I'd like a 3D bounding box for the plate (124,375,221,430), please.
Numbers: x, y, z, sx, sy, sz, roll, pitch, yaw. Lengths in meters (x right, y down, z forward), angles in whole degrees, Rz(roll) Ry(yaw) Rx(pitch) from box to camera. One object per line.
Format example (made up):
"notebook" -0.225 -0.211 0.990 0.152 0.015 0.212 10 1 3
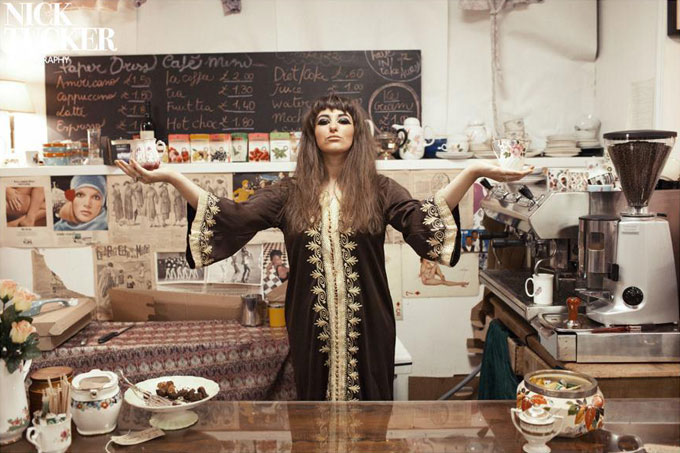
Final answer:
"plate" -0.648 0.692 2.261 0.238 0.080 0.232 3 0 -41

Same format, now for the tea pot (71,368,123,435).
"tea pot" -0.932 0.670 2.253 0.242 0.183 0.208 0 -5 -29

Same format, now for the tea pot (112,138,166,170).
"tea pot" -0.889 -0.327 2.611 0.210 0.130 0.129 -7 14 -30

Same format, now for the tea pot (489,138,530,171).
"tea pot" 0.856 -0.359 2.847 0.199 0.152 0.166 0 10 -22

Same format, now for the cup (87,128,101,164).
"cup" -1.701 -0.558 3.972 0.098 0.234 0.069 -6 16 -22

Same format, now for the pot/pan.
"pot/pan" 0.827 0.660 2.196 0.318 0.151 0.307 2 9 12

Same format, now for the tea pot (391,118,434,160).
"tea pot" 0.509 -0.611 3.959 0.360 0.327 0.218 2 7 4

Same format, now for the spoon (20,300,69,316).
"spoon" -1.812 0.491 3.536 0.239 0.068 0.241 -1 2 42

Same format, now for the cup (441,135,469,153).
"cup" 0.801 -0.572 3.931 0.154 0.097 0.112 -2 6 12

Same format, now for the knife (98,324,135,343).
"knife" -1.400 0.666 3.593 0.045 0.027 0.252 6 10 12

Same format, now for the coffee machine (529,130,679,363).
"coffee machine" 1.313 0.080 2.742 0.651 1.064 0.404 0 15 2

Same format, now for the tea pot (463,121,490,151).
"tea pot" 0.956 -0.662 4.017 0.203 0.191 0.145 10 33 13

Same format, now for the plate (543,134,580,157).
"plate" 1.533 -0.564 3.981 0.190 0.114 0.183 -4 6 -29

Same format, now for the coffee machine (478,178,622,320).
"coffee machine" 1.147 0.132 3.473 0.710 0.858 0.934 0 -2 3

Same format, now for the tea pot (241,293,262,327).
"tea pot" -0.558 0.557 3.774 0.219 0.175 0.127 1 -8 -21

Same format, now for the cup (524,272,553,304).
"cup" 1.078 0.344 3.101 0.165 0.146 0.106 -1 -5 32

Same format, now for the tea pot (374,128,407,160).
"tea pot" 0.334 -0.579 4.001 0.299 0.201 0.215 -2 1 17

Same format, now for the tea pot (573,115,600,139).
"tea pot" 1.715 -0.724 4.086 0.187 0.184 0.175 6 12 -1
